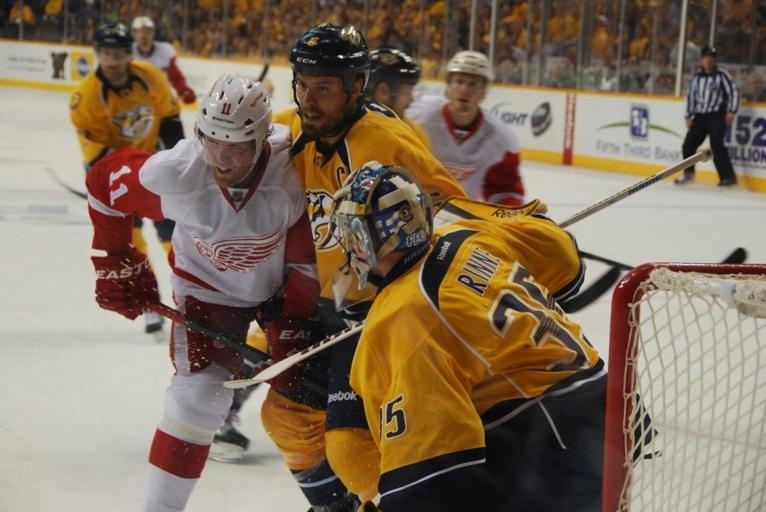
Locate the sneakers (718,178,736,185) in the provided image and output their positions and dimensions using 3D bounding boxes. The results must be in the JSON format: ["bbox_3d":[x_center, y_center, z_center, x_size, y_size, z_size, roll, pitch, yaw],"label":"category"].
[{"bbox_3d":[3.542,-0.771,11.326,0.163,0.099,0.124,7,9,16],"label":"sneakers"}]

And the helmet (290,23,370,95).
[{"bbox_3d":[-0.286,-1.072,5.982,0.470,0.395,0.413,-4,16,-42],"label":"helmet"}]

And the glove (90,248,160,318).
[{"bbox_3d":[-1.381,0.205,6.114,0.425,0.435,0.151,2,45,-7],"label":"glove"}]

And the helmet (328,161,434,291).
[{"bbox_3d":[0.039,-0.200,5.367,0.557,0.563,0.452,-3,13,7],"label":"helmet"}]

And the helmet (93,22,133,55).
[{"bbox_3d":[-1.953,-1.572,7.970,0.198,0.246,0.259,-4,-9,-24],"label":"helmet"}]
